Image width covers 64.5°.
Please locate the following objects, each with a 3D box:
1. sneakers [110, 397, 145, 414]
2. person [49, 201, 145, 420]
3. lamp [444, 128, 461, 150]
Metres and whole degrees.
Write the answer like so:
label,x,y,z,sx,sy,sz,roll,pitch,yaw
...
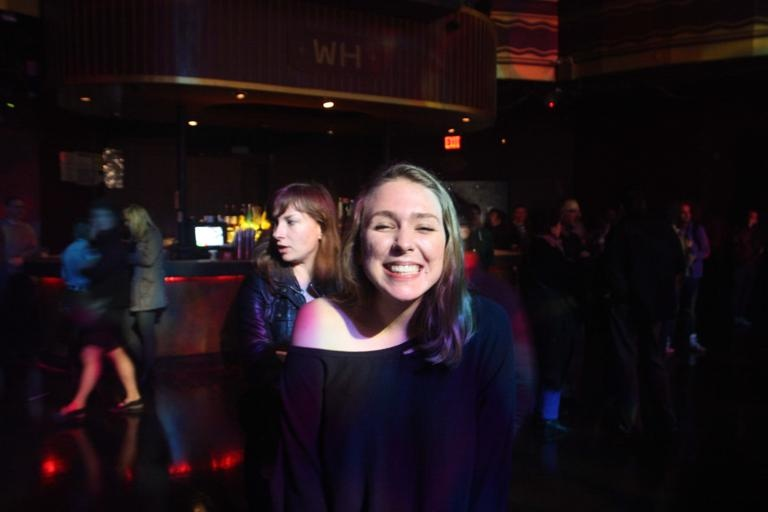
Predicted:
label,x,y,z,sx,sy,sz,roll,pitch,yaw
sneakers,-2.699,1.583,6.407,0.312,0.123,0.126,3,-4,3
person,-2.967,0.553,6.368,0.723,2.161,0.473,-1,5,-23
lamp,1.374,-2.349,12.362,0.412,0.593,0.309,0,-3,-5
